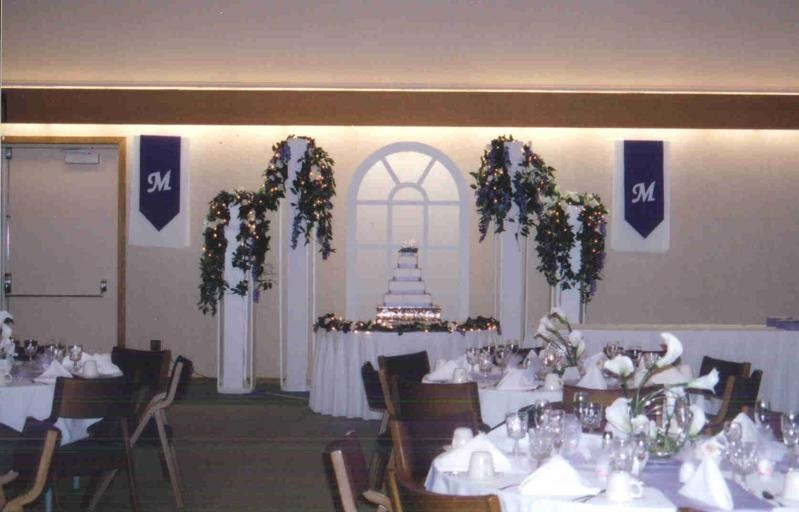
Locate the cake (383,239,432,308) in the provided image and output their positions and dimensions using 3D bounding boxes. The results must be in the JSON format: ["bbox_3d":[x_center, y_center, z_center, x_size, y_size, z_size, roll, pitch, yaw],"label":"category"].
[{"bbox_3d":[0.123,0.259,14.704,0.663,0.933,0.675,1,1,1],"label":"cake"}]

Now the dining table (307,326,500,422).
[{"bbox_3d":[-0.462,1.492,14.659,1.461,0.667,1.530,0,-4,0],"label":"dining table"}]
